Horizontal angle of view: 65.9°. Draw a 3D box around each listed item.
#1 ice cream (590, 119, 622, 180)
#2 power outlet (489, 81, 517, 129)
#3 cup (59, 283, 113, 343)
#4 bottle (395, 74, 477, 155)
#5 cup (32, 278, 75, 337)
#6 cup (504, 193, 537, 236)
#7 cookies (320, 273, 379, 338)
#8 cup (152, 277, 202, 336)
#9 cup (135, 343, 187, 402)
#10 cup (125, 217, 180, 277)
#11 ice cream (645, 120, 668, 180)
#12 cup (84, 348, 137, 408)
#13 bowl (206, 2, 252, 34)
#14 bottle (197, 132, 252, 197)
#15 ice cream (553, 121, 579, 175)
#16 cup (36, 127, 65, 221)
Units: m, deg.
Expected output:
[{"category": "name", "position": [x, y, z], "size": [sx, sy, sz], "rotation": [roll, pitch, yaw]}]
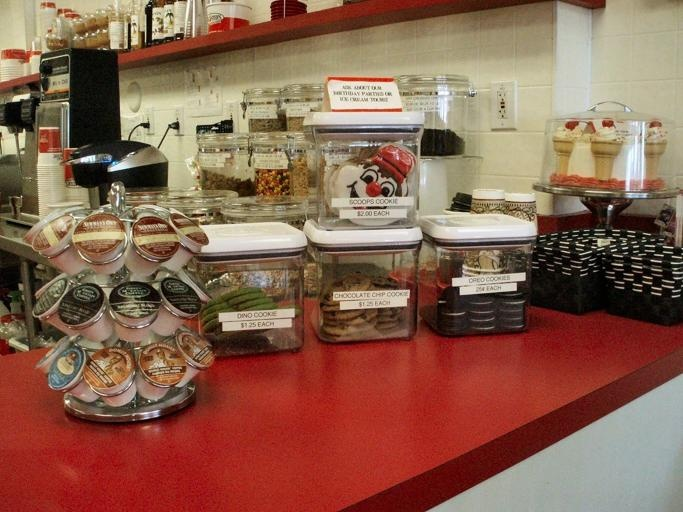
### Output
[{"category": "ice cream", "position": [0.646, -0.257, 1.291], "size": [0.046, 0.138, 0.059], "rotation": [-8, 17, -26]}, {"category": "power outlet", "position": [0.505, -0.467, 1.635], "size": [0.091, 0.147, 0.013], "rotation": [13, 20, 41]}, {"category": "cup", "position": [-0.386, 0.089, 0.787], "size": [0.058, 0.086, 0.057], "rotation": [0, 15, 0]}, {"category": "bottle", "position": [0.264, -0.456, 1.730], "size": [0.278, 0.244, 0.258], "rotation": [-1, 14, -3]}, {"category": "cup", "position": [-0.422, 0.076, 0.797], "size": [0.070, 0.038, 0.090], "rotation": [-48, 27, -13]}, {"category": "cup", "position": [0.433, -0.106, 1.343], "size": [0.093, 0.095, 0.093], "rotation": [-1, 7, 0]}, {"category": "cookies", "position": [0.001, 0.103, 1.093], "size": [0.135, 0.046, 0.130], "rotation": [3, 31, 16]}, {"category": "cup", "position": [-0.264, 0.077, 0.826], "size": [0.067, 0.062, 0.066], "rotation": [27, 24, -13]}, {"category": "cup", "position": [-0.274, 0.192, 0.848], "size": [0.088, 0.059, 0.077], "rotation": [18, 44, -20]}, {"category": "cup", "position": [-0.289, -0.019, 0.848], "size": [0.087, 0.084, 0.078], "rotation": [22, -26, -18]}, {"category": "ice cream", "position": [0.774, -0.265, 1.301], "size": [0.043, 0.143, 0.096], "rotation": [10, 18, 33]}, {"category": "cup", "position": [-0.341, 0.184, 0.837], "size": [0.085, 0.077, 0.080], "rotation": [4, 53, -5]}, {"category": "bowl", "position": [-0.494, -1.028, 2.320], "size": [0.184, 0.105, 0.164], "rotation": [-8, 20, -17]}, {"category": "bottle", "position": [-0.415, -0.369, 2.057], "size": [0.243, 0.254, 0.242], "rotation": [11, 18, 38]}, {"category": "ice cream", "position": [0.570, -0.281, 1.354], "size": [0.064, 0.139, 0.041], "rotation": [11, 19, 35]}, {"category": "cup", "position": [-1.199, -0.343, 2.156], "size": [0.121, 0.363, 0.216], "rotation": [-9, 17, -28]}]
